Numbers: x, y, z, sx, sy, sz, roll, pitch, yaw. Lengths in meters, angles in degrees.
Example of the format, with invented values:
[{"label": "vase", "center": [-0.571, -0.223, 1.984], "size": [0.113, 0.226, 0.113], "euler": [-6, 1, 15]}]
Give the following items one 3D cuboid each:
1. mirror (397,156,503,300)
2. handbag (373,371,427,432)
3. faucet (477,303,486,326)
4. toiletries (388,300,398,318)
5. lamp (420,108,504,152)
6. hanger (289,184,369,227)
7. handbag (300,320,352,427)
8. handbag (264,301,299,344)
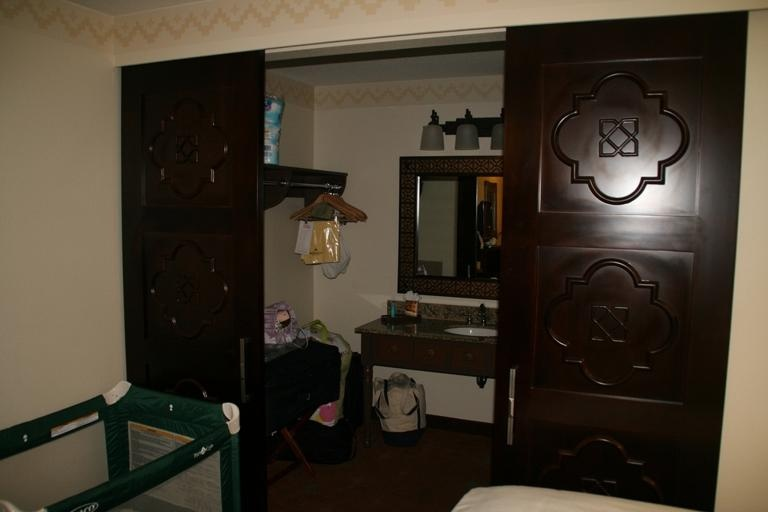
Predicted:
[{"label": "mirror", "center": [0.560, -0.252, 4.575], "size": [1.088, 1.355, 0.060], "euler": [1, 4, 21]}, {"label": "handbag", "center": [0.065, 1.187, 4.615], "size": [0.368, 0.411, 0.451], "euler": [2, 8, 39]}, {"label": "faucet", "center": [0.792, 0.466, 4.531], "size": [0.072, 0.157, 0.106], "euler": [0, 10, -2]}, {"label": "toiletries", "center": [0.073, 0.433, 4.723], "size": [0.076, 0.129, 0.213], "euler": [1, 11, 2]}, {"label": "lamp", "center": [0.606, -0.992, 4.467], "size": [0.638, 0.328, 0.264], "euler": [3, 11, 15]}, {"label": "hanger", "center": [-0.422, -0.353, 4.453], "size": [0.526, 0.227, 0.231], "euler": [0, -2, 3]}, {"label": "handbag", "center": [-0.434, 0.886, 4.405], "size": [0.363, 0.699, 0.494], "euler": [-1, 10, -7]}, {"label": "handbag", "center": [-0.744, 0.374, 4.129], "size": [0.235, 0.345, 0.465], "euler": [-1, 2, -11]}]
